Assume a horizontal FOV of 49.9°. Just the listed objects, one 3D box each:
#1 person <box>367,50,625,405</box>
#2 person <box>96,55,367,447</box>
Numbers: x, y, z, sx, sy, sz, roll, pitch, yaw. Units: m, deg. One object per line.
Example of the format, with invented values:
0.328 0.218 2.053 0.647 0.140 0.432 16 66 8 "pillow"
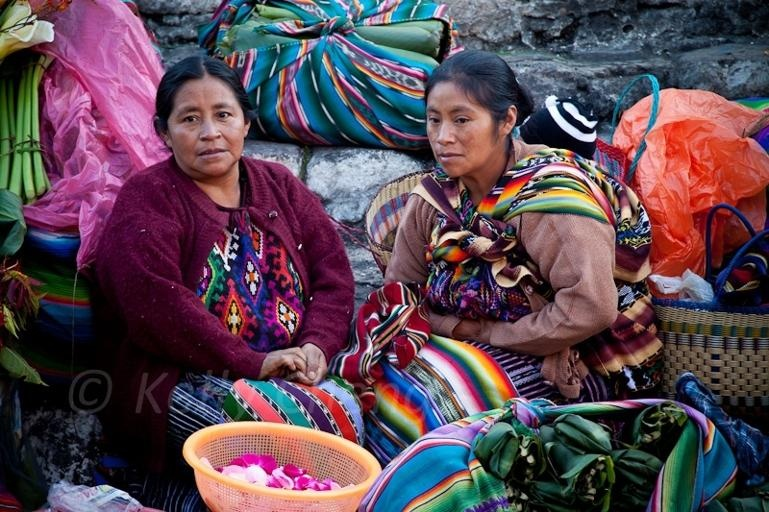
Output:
0.532 -0.122 4.122 1.206 1.691 1.051 6 16 35 "person"
-0.710 -0.004 3.947 1.138 1.741 1.168 8 12 30 "person"
